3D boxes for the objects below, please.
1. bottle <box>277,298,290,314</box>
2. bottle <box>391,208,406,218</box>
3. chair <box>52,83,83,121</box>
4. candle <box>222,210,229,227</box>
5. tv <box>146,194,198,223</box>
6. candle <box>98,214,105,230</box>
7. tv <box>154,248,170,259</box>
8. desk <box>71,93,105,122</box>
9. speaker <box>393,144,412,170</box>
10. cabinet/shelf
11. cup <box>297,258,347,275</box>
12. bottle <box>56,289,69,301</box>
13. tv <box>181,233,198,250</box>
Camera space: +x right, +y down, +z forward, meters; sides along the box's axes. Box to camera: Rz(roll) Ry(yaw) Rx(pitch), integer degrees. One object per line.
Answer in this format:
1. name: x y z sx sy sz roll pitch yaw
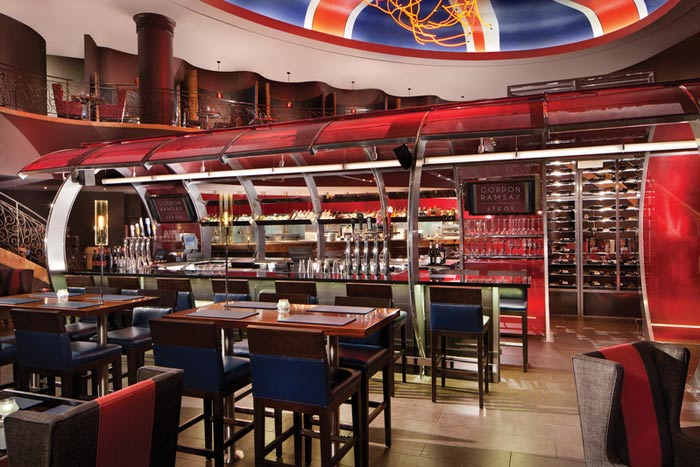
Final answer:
1. bottle: -0.719 0.798 5.588 0.133 0.121 0.133 0 -3 -3
2. bottle: 0.870 -0.353 9.154 0.218 0.079 0.244 0 -2 -12
3. chair: -7.594 -3.465 14.062 0.896 1.003 0.793 5 5 -20
4. candle: -1.369 -0.156 5.743 0.092 0.176 0.043 -3 14 -16
5. tv: -3.207 -0.453 9.322 0.989 0.570 0.243 6 15 24
6. candle: -2.986 -0.126 6.202 0.089 0.180 0.070 -7 16 -30
7. tv: -3.363 0.372 9.188 0.222 0.168 0.151 -4 14 -19
8. desk: -6.654 -3.217 13.067 0.634 0.725 2.057 -6 14 -27
9. speaker: 0.702 -0.997 6.830 0.235 0.343 0.454 2 13 5
10. cabinet/shelf: 4.514 0.083 9.663 1.727 2.957 0.776 5 14 18
11. cup: -0.386 0.530 7.590 0.468 0.148 0.337 1 -1 13
12. bottle: -3.530 0.767 6.332 0.098 0.093 0.107 -3 20 17
13. tv: -3.014 0.165 9.647 0.171 0.316 0.311 -8 -4 26
